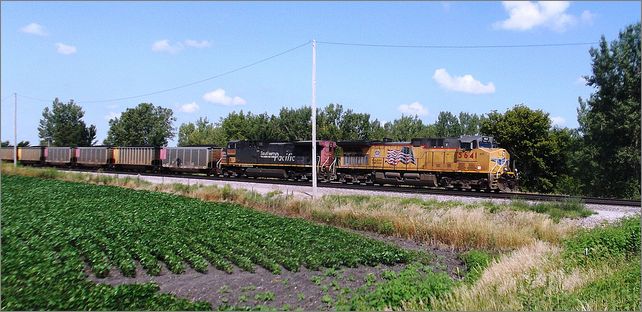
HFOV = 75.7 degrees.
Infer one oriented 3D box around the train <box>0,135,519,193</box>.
[{"bbox_3d":[-18.781,-0.316,53.428,79.547,7.169,6.707,3,8,22],"label":"train"}]
